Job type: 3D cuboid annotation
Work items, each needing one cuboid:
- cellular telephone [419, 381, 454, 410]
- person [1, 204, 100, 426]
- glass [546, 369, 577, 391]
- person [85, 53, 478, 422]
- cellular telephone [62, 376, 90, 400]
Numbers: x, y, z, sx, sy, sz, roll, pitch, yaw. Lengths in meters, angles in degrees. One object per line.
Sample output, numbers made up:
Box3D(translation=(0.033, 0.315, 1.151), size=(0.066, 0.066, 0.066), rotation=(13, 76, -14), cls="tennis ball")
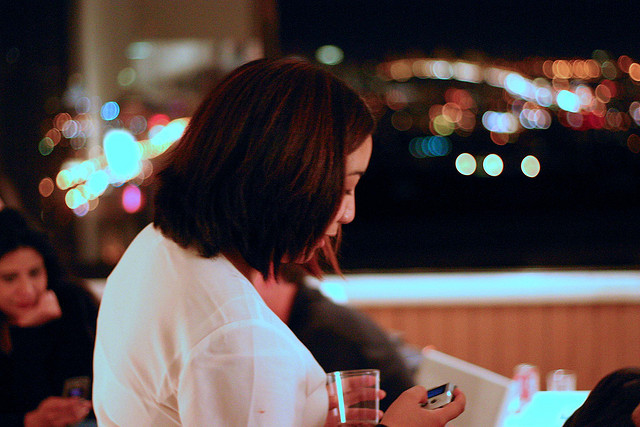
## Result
Box3D(translation=(0.355, 0.548, 2.819), size=(0.087, 0.041, 0.154), rotation=(4, 9, 17), cls="cellular telephone")
Box3D(translation=(-0.929, 0.354, 3.171), size=(0.330, 0.735, 0.161), rotation=(2, 10, 7), cls="person")
Box3D(translation=(0.835, 0.572, 3.204), size=(0.079, 0.060, 0.079), rotation=(12, -24, -27), cls="glass")
Box3D(translation=(-0.283, 0.207, 3.239), size=(1.131, 1.483, 1.433), rotation=(-2, 7, -28), cls="person")
Box3D(translation=(-0.822, 0.585, 3.161), size=(0.091, 0.068, 0.032), rotation=(1, 9, 1), cls="cellular telephone")
